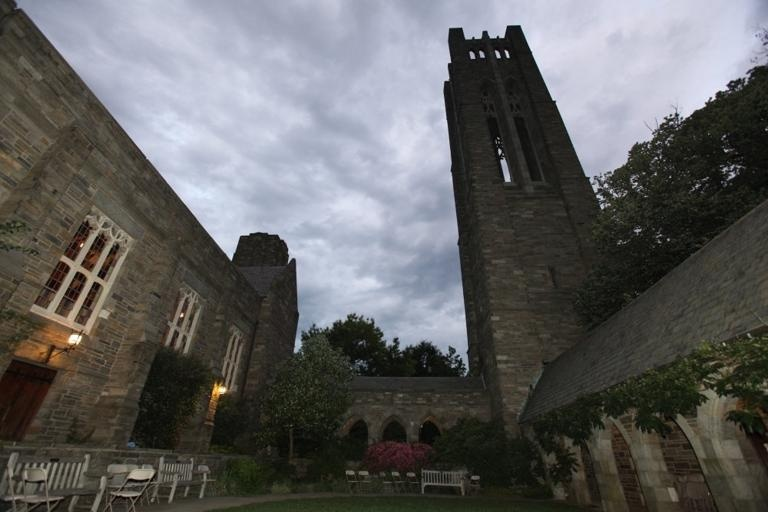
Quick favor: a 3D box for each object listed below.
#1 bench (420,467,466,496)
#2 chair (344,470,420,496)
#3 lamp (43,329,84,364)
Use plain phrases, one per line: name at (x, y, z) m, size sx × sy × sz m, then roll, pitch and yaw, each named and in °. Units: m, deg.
bench at (2.985, 11.057, 17.752) m, size 2.236 × 0.976 × 1.363 m, roll -6°, pitch -32°, yaw 10°
chair at (0.059, 11.372, 18.282) m, size 3.490 × 0.848 × 1.853 m, roll -3°, pitch -31°, yaw 5°
lamp at (-12.812, 3.619, 14.575) m, size 0.895 × 1.497 × 0.904 m, roll 23°, pitch -41°, yaw -31°
